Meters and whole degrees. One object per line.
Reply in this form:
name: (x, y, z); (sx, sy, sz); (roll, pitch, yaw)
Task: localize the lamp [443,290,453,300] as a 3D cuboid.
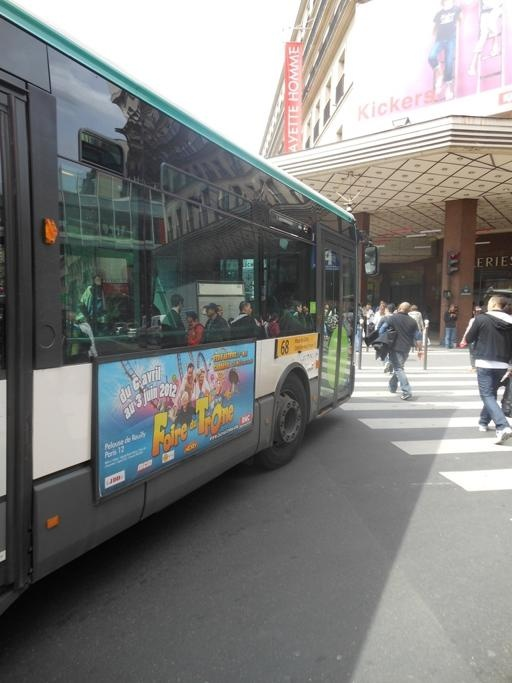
lamp: (8.340, -2.028, 20.109); (0.485, 0.464, 0.293); (-2, -5, -1)

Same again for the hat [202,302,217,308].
hat: (-0.336, -0.259, 3.282); (0.063, 0.039, 0.041); (3, 6, -27)

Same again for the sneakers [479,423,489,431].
sneakers: (3.255, 1.240, 6.575); (0.115, 0.108, 0.122); (-4, -5, -38)
